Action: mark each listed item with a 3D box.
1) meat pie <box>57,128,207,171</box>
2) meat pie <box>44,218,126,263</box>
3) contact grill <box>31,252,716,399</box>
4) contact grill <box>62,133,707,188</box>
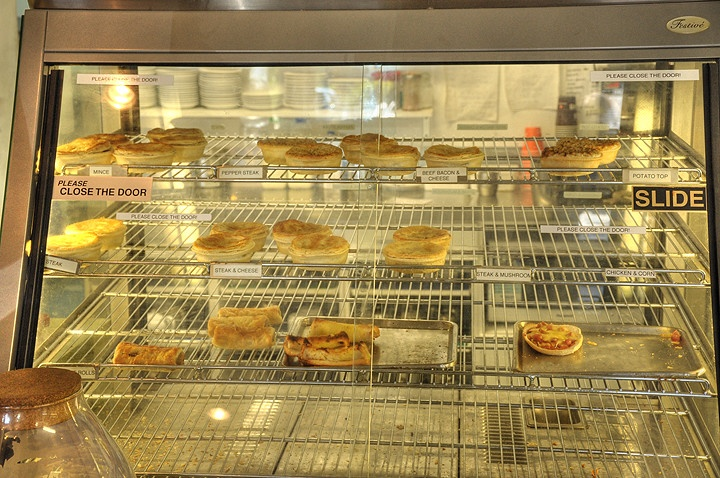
[{"bbox_3d":[-0.895,-0.371,2.293,0.396,0.086,0.236,-2,16,-6],"label":"meat pie"},{"bbox_3d":[-1.120,0.000,2.314,0.229,0.168,0.378,2,10,6],"label":"meat pie"},{"bbox_3d":[0.226,-0.004,2.347,3.374,0.559,0.550,2,24,5],"label":"contact grill"},{"bbox_3d":[-0.061,-0.331,2.279,2.240,0.211,0.157,-1,10,0],"label":"contact grill"}]
